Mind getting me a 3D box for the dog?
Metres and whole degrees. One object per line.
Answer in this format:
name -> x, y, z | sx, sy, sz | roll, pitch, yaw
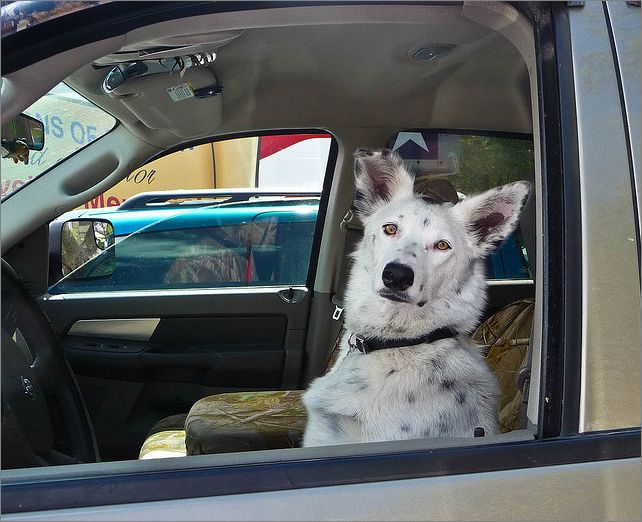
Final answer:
dog -> 0.270, 0.088, 1.647 | 0.676, 0.887, 0.447 | 0, 5, 19
